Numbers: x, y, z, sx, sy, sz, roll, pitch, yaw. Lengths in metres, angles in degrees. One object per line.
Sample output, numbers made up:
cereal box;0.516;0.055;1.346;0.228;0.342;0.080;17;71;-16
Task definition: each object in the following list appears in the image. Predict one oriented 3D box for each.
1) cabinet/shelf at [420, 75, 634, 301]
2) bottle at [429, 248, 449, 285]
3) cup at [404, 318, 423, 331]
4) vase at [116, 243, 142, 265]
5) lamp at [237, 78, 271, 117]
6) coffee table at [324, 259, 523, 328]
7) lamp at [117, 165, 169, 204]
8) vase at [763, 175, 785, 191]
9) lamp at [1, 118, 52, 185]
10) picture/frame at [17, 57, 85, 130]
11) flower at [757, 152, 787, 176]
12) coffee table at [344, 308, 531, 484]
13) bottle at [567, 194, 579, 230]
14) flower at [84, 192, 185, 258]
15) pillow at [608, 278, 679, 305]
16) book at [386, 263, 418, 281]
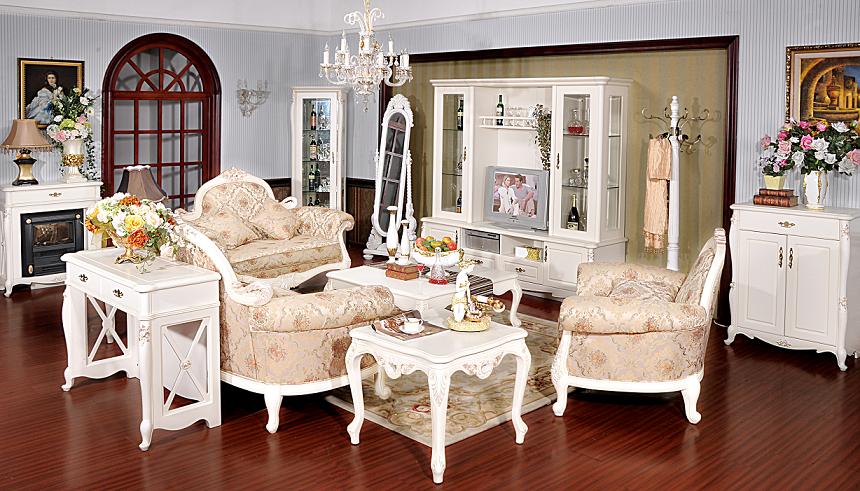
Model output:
cabinet/shelf;1.363;-0.750;7.247;3.035;2.836;0.876;8;11;42
bottle;0.070;0.209;5.668;0.203;0.371;0.206;-1;14;0
cup;-0.142;0.619;4.381;0.127;0.066;0.101;-4;11;-30
vase;-2.576;0.076;4.695;0.136;0.159;0.143;14;15;29
lamp;-3.035;-2.458;9.310;0.673;0.660;0.331;-1;16;-34
coffee table;-0.345;0.405;5.852;1.185;0.443;1.178;-10;14;-42
lamp;-3.929;-0.818;7.448;0.768;0.457;0.741;-2;15;-11
vase;3.776;-0.673;6.064;0.185;0.114;0.179;0;2;5
lamp;-5.502;-1.245;7.483;0.590;0.842;0.536;-9;16;-32
picture/frame;-5.358;-2.052;7.684;1.114;1.144;0.090;-6;16;-40
flower;3.825;-0.906;6.157;0.204;0.295;0.310;14;-6;-36
coffee table;-0.001;0.916;4.555;1.244;0.964;1.296;10;15;43
bottle;1.883;-0.424;7.265;0.163;0.436;0.094;5;15;22
flower;-2.490;-0.184;4.711;0.624;0.466;0.682;3;8;20
pillow;2.027;0.424;5.221;0.345;0.081;0.345;-1;11;-3
book;-0.328;0.252;5.912;0.228;0.096;0.223;-5;9;-38
